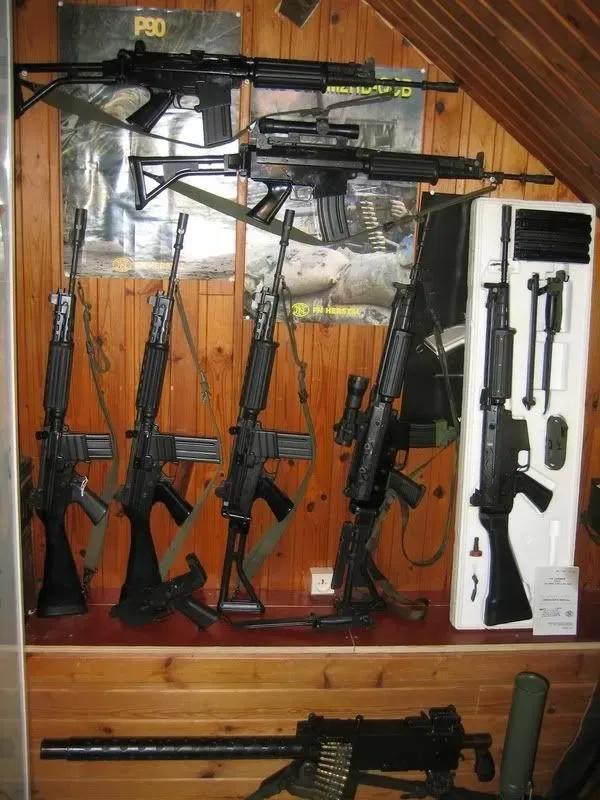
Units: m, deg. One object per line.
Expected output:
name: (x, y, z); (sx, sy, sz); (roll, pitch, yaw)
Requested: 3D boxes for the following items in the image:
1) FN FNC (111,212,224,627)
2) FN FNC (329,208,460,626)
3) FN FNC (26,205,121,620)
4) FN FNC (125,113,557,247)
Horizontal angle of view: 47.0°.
FN FNC: (-0.507, 0.029, 2.971); (0.391, 1.728, 0.508); (3, -2, 38)
FN FNC: (0.398, 0.011, 2.971); (0.595, 1.724, 0.192); (9, 4, -9)
FN FNC: (-1.000, 0.625, 2.845); (0.185, 0.734, 1.910); (-3, -23, -24)
FN FNC: (0.214, -0.885, 2.842); (1.732, 0.536, 0.151); (-2, 37, -11)
